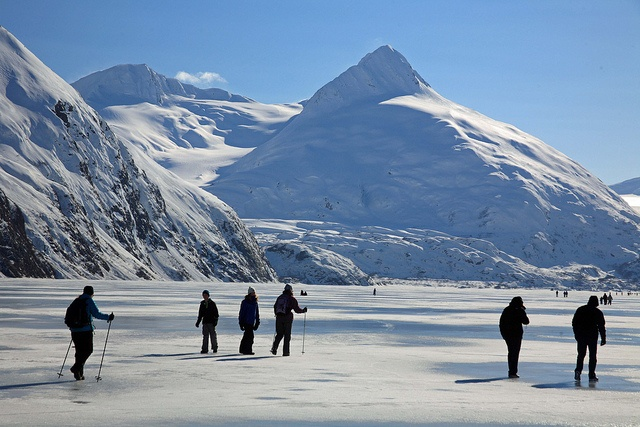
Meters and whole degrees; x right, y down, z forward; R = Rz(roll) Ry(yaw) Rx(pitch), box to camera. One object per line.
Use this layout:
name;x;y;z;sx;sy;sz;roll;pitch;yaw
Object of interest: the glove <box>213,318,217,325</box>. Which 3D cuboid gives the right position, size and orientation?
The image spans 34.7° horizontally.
glove;-6.703;6.921;65.472;0.177;0.480;0.338;0;-10;14
